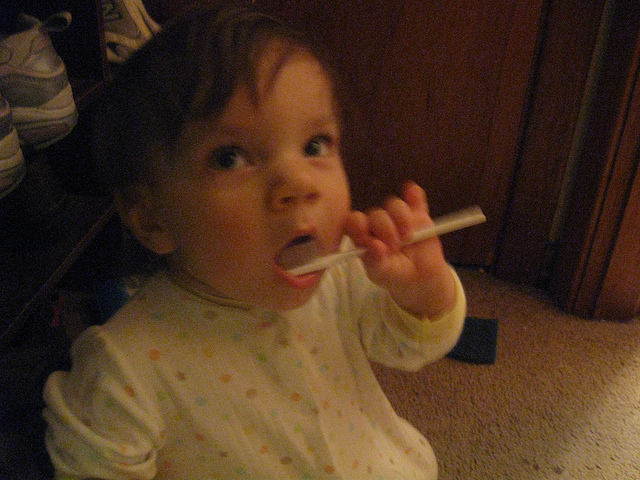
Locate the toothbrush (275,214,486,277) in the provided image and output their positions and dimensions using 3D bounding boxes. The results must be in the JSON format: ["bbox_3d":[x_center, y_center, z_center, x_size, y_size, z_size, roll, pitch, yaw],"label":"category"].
[{"bbox_3d":[0.072,0.006,0.739,0.225,0.056,0.022,-20,61,-25],"label":"toothbrush"}]
